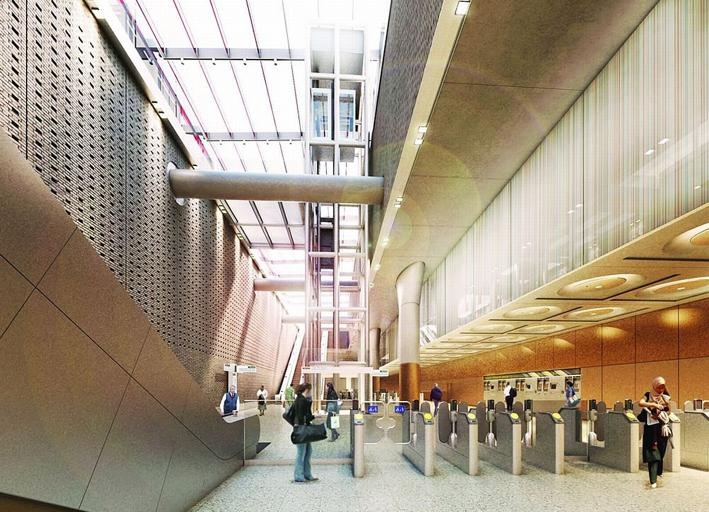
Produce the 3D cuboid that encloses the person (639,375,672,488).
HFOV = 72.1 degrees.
[{"bbox_3d":[5.776,3.352,9.347,0.532,1.960,1.392,-6,-12,29],"label":"person"}]

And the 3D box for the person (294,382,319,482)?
[{"bbox_3d":[-0.990,3.677,10.141,0.599,1.924,0.608,-4,-18,7],"label":"person"}]

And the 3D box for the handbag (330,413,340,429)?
[{"bbox_3d":[-0.454,3.849,11.295,0.286,0.371,0.115,5,-11,-29],"label":"handbag"}]

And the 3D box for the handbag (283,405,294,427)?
[{"bbox_3d":[-1.431,3.499,10.580,0.214,0.468,0.476,11,-23,-5],"label":"handbag"}]

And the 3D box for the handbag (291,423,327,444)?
[{"bbox_3d":[-0.941,3.690,10.135,0.883,0.356,0.466,8,-14,-37],"label":"handbag"}]
